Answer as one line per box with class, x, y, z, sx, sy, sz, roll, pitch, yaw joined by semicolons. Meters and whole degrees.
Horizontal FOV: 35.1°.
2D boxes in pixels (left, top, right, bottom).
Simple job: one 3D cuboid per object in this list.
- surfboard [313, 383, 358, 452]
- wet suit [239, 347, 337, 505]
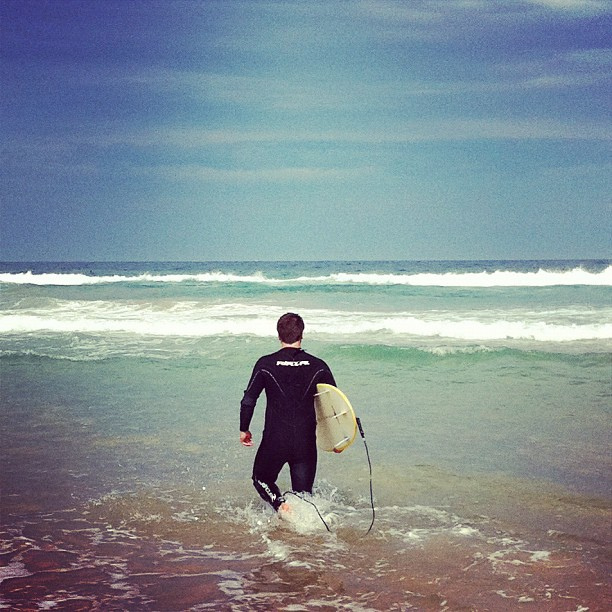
surfboard;0.279;1.084;9.433;0.557;0.615;0.521;0;11;2
wet suit;-0.182;1.169;9.309;0.906;1.536;0.398;0;15;-4
